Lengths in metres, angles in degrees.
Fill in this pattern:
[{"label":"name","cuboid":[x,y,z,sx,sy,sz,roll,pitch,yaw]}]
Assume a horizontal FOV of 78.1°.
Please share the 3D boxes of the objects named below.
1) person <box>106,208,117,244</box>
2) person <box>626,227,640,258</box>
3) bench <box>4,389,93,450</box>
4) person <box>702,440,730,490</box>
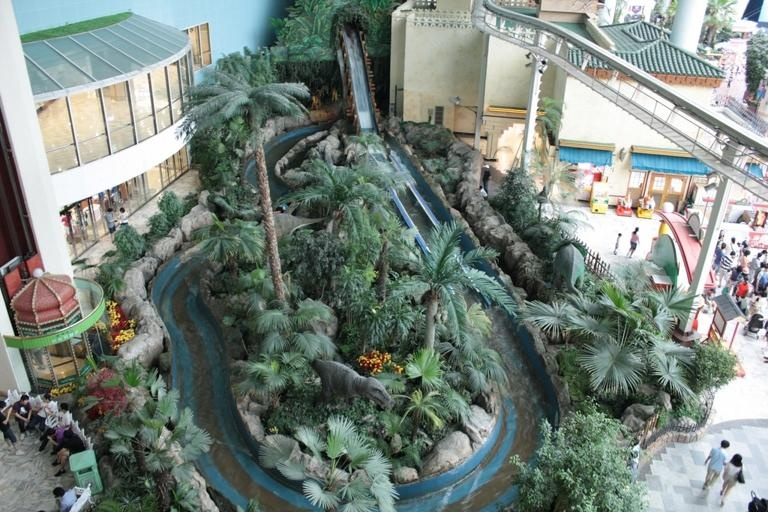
[{"label":"person","cuboid":[-12.319,-1.391,21.176,0.421,1.307,0.727,-9,22,-31]},{"label":"person","cuboid":[11.296,-0.660,21.254,0.365,1.290,1.177,13,22,27]},{"label":"bench","cuboid":[-9.236,4.534,12.903,0.364,1.334,0.775,-32,11,-20]},{"label":"person","cuboid":[9.430,5.939,13.371,0.515,1.542,0.334,21,22,38]}]
